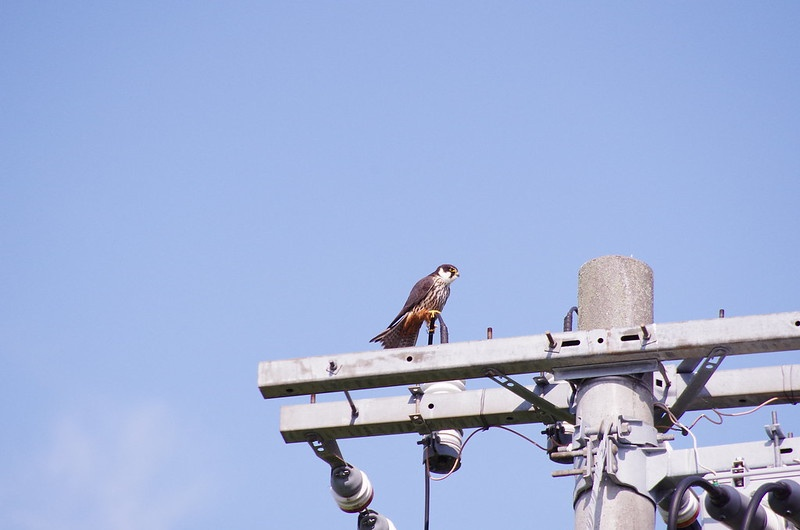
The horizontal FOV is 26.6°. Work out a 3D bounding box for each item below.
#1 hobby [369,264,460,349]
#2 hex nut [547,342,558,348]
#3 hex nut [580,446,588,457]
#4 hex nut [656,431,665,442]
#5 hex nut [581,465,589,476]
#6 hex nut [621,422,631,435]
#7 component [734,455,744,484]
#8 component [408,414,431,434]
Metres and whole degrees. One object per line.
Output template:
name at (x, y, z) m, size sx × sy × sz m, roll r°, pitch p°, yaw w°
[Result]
hobby at (0.214, 0.522, 18.939) m, size 1.022 × 0.810 × 0.667 m, roll -12°, pitch -26°, yaw 28°
hex nut at (1.150, 0.653, 12.768) m, size 0.043 × 0.046 × 0.050 m, roll -25°, pitch -19°, yaw -3°
hex nut at (1.344, 1.389, 12.414) m, size 0.040 × 0.092 × 0.074 m, roll 10°, pitch -37°, yaw -7°
hex nut at (1.928, 1.298, 12.564) m, size 0.054 × 0.034 × 0.073 m, roll -1°, pitch 12°, yaw 8°
hex nut at (1.351, 1.520, 12.355) m, size 0.059 × 0.106 × 0.057 m, roll 2°, pitch -1°, yaw -8°
hex nut at (1.645, 1.229, 12.376) m, size 0.077 × 0.095 × 0.068 m, roll 2°, pitch -3°, yaw -1°
component at (2.517, 1.547, 12.568) m, size 0.095 × 0.182 × 0.087 m, roll 7°, pitch -37°, yaw -2°
component at (0.165, 1.366, 14.124) m, size 0.189 × 0.085 × 0.647 m, roll 0°, pitch -21°, yaw 8°
